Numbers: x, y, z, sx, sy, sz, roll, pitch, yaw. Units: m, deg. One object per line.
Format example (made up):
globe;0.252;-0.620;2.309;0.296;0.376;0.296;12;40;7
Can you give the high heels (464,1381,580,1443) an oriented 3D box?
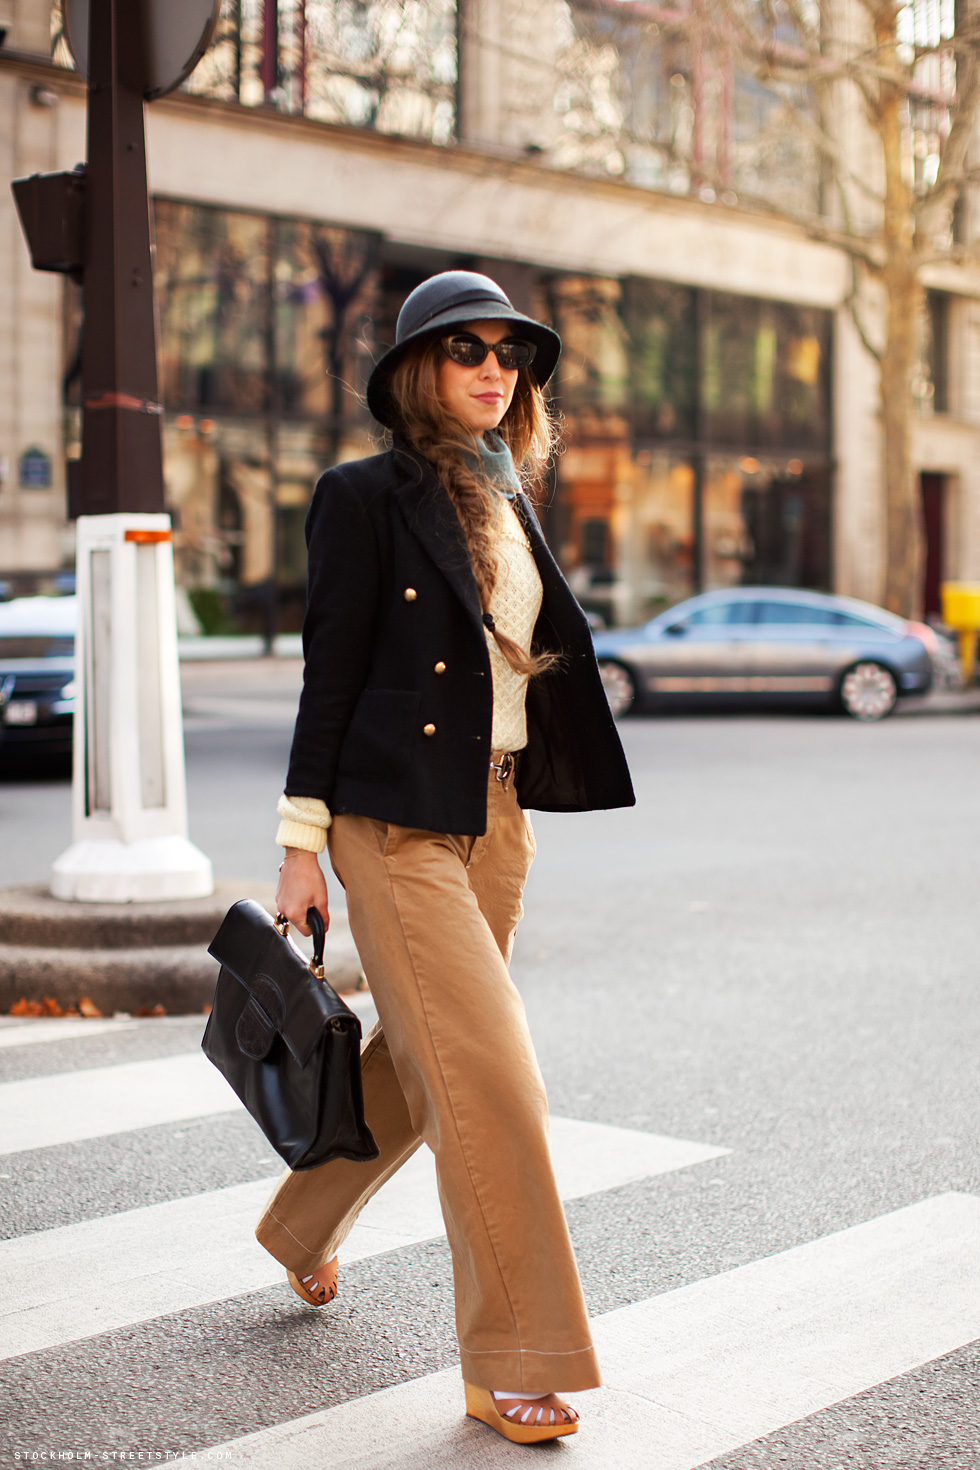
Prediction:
high heels;0.040;0.884;2.305;0.163;0.068;0.065;-2;1;38

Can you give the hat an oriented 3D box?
hat;-0.050;-0.637;2.571;0.252;0.128;0.228;-16;-5;28

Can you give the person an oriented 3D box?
person;-0.057;0.117;2.485;0.522;1.618;0.588;1;3;4

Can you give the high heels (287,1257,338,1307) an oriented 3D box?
high heels;-0.292;0.908;2.829;0.043;0.058;0.107;-8;15;-12

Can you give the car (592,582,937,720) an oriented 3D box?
car;2.856;-0.861;17.684;3.775;1.326;1.614;1;1;6

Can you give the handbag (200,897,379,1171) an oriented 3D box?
handbag;-0.303;0.391;2.546;0.135;0.362;0.408;-5;20;-29
